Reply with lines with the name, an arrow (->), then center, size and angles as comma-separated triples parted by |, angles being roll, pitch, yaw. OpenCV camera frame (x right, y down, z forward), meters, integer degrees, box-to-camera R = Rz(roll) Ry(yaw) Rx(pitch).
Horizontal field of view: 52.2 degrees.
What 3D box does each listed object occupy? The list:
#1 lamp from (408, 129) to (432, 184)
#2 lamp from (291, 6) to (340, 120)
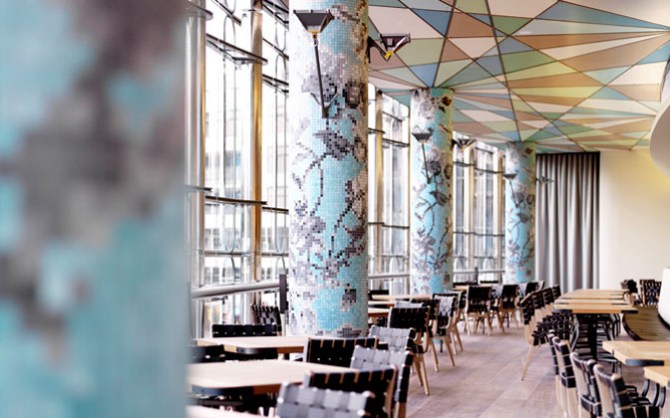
lamp -> 1.429, -0.957, 11.566 | 0.344, 0.875, 0.802 | 3, -9, 7
lamp -> -0.195, -1.234, 5.606 | 0.346, 0.880, 0.361 | 4, -8, -2
